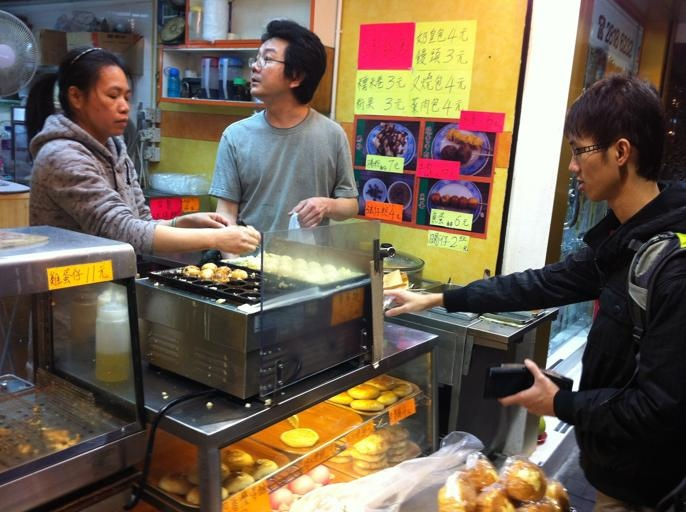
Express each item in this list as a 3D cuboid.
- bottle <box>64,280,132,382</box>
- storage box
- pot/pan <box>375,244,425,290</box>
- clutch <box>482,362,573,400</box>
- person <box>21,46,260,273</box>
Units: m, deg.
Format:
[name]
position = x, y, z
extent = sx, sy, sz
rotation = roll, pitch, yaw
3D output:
[bottle]
position = -0.663, 0.211, 1.334
extent = 0.175, 0.281, 0.062
rotation = 5, 13, 12
[storage box]
position = -2.466, -2.022, 5.191
extent = 1.059, 0.442, 0.558
rotation = 0, -2, 0
[pot/pan]
position = 0.358, 0.059, 2.961
extent = 0.306, 0.172, 0.295
rotation = 1, 2, -5
[clutch]
position = 0.553, 0.387, 1.507
extent = 0.228, 0.116, 0.051
rotation = 5, 26, -4
[person]
position = -0.763, -0.325, 1.874
extent = 0.830, 0.764, 0.535
rotation = 8, 14, 6
